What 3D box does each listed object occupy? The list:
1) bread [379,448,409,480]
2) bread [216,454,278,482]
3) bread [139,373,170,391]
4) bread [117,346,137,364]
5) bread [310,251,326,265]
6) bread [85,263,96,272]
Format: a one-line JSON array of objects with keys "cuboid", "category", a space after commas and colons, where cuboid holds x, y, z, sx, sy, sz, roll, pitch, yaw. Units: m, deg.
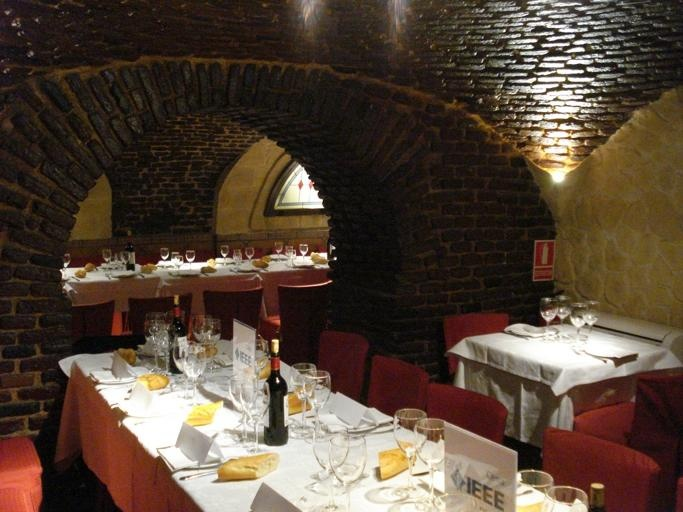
[{"cuboid": [0.189, 0.765, 1.797, 0.111, 0.057, 0.139, 1, 7, -5], "category": "bread"}, {"cuboid": [-0.337, 0.755, 1.756, 0.158, 0.038, 0.093, -5, 5, -22], "category": "bread"}, {"cuboid": [-0.964, 0.643, 2.495, 0.102, 0.028, 0.099, 5, 2, 17], "category": "bread"}, {"cuboid": [-1.273, 0.584, 2.864, 0.070, 0.078, 0.109, -16, 3, -21], "category": "bread"}, {"cuboid": [-0.340, 0.050, 6.761, 0.214, 0.097, 0.279, -1, 9, -35], "category": "bread"}, {"cuboid": [-2.957, 0.139, 5.680, 0.117, 0.082, 0.105, 0, 7, -15], "category": "bread"}]
